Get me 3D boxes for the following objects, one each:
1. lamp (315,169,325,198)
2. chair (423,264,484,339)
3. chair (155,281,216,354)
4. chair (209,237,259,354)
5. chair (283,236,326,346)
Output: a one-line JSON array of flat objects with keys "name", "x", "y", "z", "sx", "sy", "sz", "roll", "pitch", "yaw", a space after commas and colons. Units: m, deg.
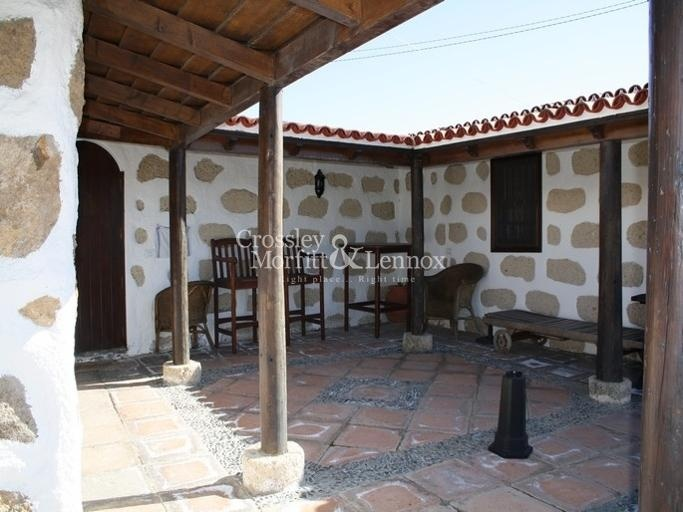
[{"name": "lamp", "x": -0.306, "y": -1.069, "z": 8.110, "sx": 0.107, "sy": 0.402, "sz": 0.205, "roll": 5, "pitch": 8, "yaw": 41}, {"name": "chair", "x": 1.559, "y": 0.573, "z": 7.540, "sx": 0.762, "sy": 0.955, "sz": 0.850, "roll": 2, "pitch": -1, "yaw": -22}, {"name": "chair", "x": -1.889, "y": 0.736, "z": 6.990, "sx": 0.801, "sy": 1.081, "sz": 0.787, "roll": -2, "pitch": 5, "yaw": -42}, {"name": "chair", "x": -1.273, "y": 0.450, "z": 6.964, "sx": 0.604, "sy": 1.449, "sz": 0.709, "roll": -2, "pitch": -1, "yaw": 43}, {"name": "chair", "x": -0.511, "y": 0.441, "z": 7.512, "sx": 0.571, "sy": 1.385, "sz": 1.252, "roll": -1, "pitch": 6, "yaw": -3}]
